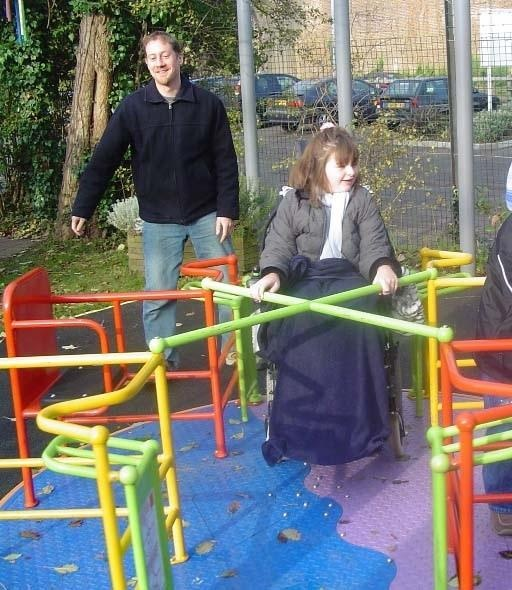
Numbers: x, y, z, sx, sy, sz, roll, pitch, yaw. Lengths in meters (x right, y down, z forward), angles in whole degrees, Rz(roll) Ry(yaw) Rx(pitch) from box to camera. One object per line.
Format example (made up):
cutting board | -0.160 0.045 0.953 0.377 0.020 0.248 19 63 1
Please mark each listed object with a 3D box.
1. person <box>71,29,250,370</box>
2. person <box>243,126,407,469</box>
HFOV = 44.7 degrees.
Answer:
person | -0.643 -0.729 4.150 1.033 1.397 0.297 -5 12 1
person | 0.345 0.025 2.995 0.686 1.653 0.802 -3 12 12
